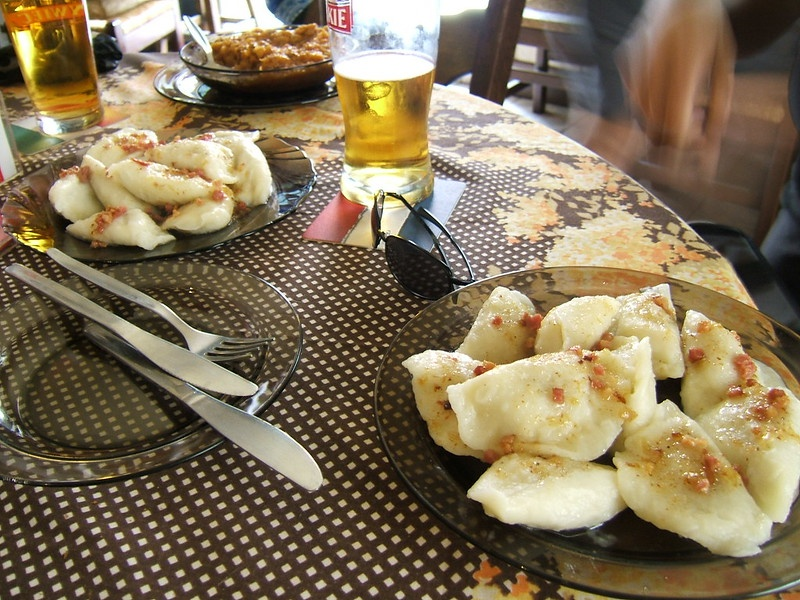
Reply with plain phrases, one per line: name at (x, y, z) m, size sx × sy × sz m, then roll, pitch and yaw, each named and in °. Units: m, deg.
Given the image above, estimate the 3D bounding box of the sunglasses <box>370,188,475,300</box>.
sunglasses at (0.023, -0.090, 0.953) m, size 0.121 × 0.063 × 0.223 m, roll -21°, pitch 57°, yaw -33°

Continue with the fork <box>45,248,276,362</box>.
fork at (-0.328, 0.009, 0.828) m, size 0.347 × 0.026 × 0.046 m, roll 21°, pitch 25°, yaw 13°

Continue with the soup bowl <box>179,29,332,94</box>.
soup bowl at (-0.346, -0.499, 1.363) m, size 0.228 × 0.035 × 0.201 m, roll 25°, pitch 45°, yaw 22°

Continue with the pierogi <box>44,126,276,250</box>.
pierogi at (-0.381, -0.186, 1.013) m, size 0.279 × 0.061 × 0.267 m, roll 20°, pitch 38°, yaw 21°

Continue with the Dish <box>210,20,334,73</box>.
Dish at (-0.265, -0.578, 1.435) m, size 0.269 × 0.061 × 0.246 m, roll -19°, pitch 33°, yaw -33°

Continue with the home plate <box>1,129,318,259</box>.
home plate at (-0.361, -0.149, 1.016) m, size 0.350 × 0.038 × 0.327 m, roll -27°, pitch 46°, yaw -30°
